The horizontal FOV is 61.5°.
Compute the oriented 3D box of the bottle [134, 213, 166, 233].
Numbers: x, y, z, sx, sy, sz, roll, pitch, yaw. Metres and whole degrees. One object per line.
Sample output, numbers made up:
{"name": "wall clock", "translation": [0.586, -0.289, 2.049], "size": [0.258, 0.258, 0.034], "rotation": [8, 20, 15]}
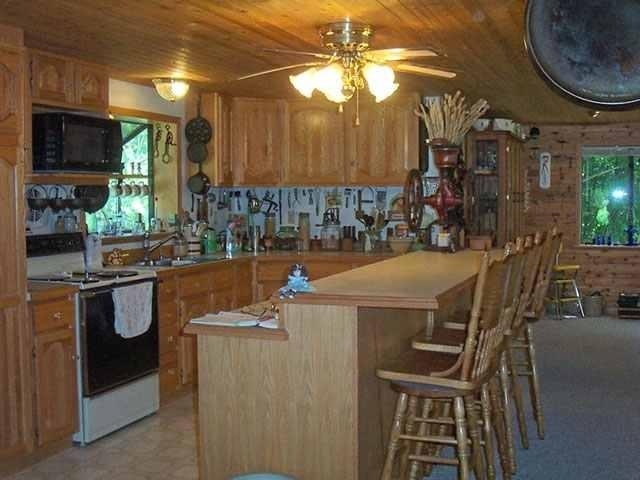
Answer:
{"name": "bottle", "translation": [-1.738, -0.174, 5.454], "size": [0.167, 0.203, 0.399], "rotation": [1, 4, 18]}

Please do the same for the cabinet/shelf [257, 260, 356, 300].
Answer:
{"name": "cabinet/shelf", "translation": [-0.097, 0.359, 6.464], "size": [1.481, 0.451, 1.349], "rotation": [1, 4, 6]}

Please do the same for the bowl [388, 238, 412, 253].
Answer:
{"name": "bowl", "translation": [0.886, 0.056, 5.923], "size": [0.164, 0.102, 0.235], "rotation": [3, 5, 19]}

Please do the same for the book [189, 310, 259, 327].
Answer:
{"name": "book", "translation": [-0.471, 0.402, 2.772], "size": [0.358, 0.024, 0.345], "rotation": [-1, 3, 1]}

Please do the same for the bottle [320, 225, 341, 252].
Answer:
{"name": "bottle", "translation": [0.124, -0.025, 6.293], "size": [0.289, 0.308, 0.279], "rotation": [-2, 5, -22]}

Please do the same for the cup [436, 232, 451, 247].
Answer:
{"name": "cup", "translation": [1.018, -0.022, 4.434], "size": [0.140, 0.128, 0.102], "rotation": [3, 9, 25]}

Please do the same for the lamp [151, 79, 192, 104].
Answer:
{"name": "lamp", "translation": [-1.402, -1.375, 5.163], "size": [0.299, 0.174, 0.289], "rotation": [-1, -2, -3]}

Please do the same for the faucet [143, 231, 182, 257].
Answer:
{"name": "faucet", "translation": [-1.590, 0.033, 5.351], "size": [0.106, 0.200, 0.535], "rotation": [6, 18, 30]}

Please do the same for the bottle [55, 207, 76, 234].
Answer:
{"name": "bottle", "translation": [-2.118, -0.159, 4.476], "size": [0.155, 0.183, 0.217], "rotation": [-2, 4, -18]}

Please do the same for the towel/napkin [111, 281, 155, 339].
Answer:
{"name": "towel/napkin", "translation": [-1.438, 0.528, 4.075], "size": [0.097, 0.445, 0.486], "rotation": [1, 3, 29]}

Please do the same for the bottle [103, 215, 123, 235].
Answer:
{"name": "bottle", "translation": [-1.938, -0.142, 5.058], "size": [0.072, 0.198, 0.278], "rotation": [0, 4, 11]}

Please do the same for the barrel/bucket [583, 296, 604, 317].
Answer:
{"name": "barrel/bucket", "translation": [4.181, 0.990, 8.311], "size": [0.315, 0.309, 0.304], "rotation": [-1, 9, 0]}

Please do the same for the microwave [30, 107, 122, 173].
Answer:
{"name": "microwave", "translation": [-1.927, -0.756, 4.217], "size": [0.491, 0.449, 0.728], "rotation": [1, 2, 22]}

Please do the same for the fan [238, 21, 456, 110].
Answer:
{"name": "fan", "translation": [0.135, -1.093, 3.418], "size": [0.927, 0.331, 0.934], "rotation": [1, 3, 40]}

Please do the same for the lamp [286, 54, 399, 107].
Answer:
{"name": "lamp", "translation": [0.196, -1.050, 3.390], "size": [0.531, 0.185, 0.517], "rotation": [-22, 19, -9]}

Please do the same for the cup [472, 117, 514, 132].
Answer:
{"name": "cup", "translation": [2.278, -1.489, 7.003], "size": [0.582, 0.193, 0.257], "rotation": [-1, 4, -1]}

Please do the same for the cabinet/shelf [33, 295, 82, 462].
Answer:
{"name": "cabinet/shelf", "translation": [-1.805, 0.883, 3.665], "size": [0.079, 1.060, 0.317], "rotation": [1, 4, 25]}

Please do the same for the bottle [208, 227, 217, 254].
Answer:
{"name": "bottle", "translation": [-1.232, 0.001, 6.129], "size": [0.111, 0.276, 0.441], "rotation": [-2, 4, -12]}

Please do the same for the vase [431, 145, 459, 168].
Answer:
{"name": "vase", "translation": [0.984, -0.640, 4.152], "size": [0.229, 0.180, 0.144], "rotation": [-1, 4, -1]}

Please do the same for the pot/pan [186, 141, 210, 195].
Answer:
{"name": "pot/pan", "translation": [-1.335, -0.782, 5.875], "size": [0.227, 0.551, 0.125], "rotation": [0, 4, 14]}
